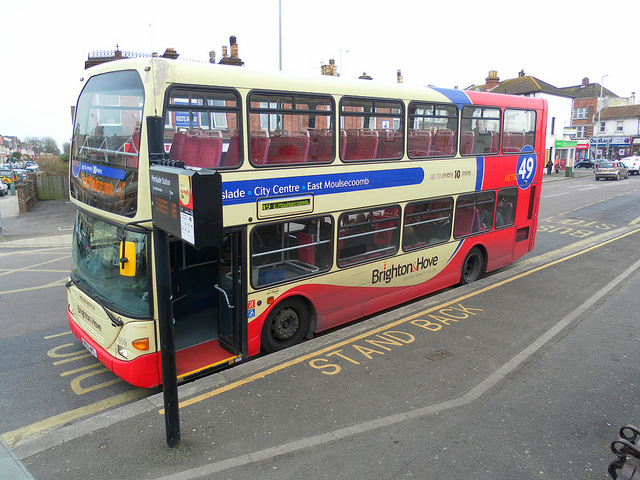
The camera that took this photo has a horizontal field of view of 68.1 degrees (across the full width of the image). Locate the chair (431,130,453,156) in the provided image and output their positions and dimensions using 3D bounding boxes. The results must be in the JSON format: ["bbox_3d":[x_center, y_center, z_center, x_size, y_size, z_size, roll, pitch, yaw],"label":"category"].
[{"bbox_3d":[2.772,-2.219,10.894,0.461,0.499,0.258,-11,19,-38],"label":"chair"}]

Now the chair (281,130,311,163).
[{"bbox_3d":[-0.436,-1.664,8.758,0.362,0.774,0.323,8,1,-20],"label":"chair"}]

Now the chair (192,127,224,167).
[{"bbox_3d":[-1.865,-1.497,7.822,0.424,0.697,0.360,11,26,8],"label":"chair"}]

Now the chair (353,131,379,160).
[{"bbox_3d":[0.890,-1.892,9.463,0.372,0.791,0.419,11,8,21],"label":"chair"}]

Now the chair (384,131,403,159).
[{"bbox_3d":[1.512,-1.975,9.909,0.396,0.601,0.302,-6,20,-19],"label":"chair"}]

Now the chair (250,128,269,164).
[{"bbox_3d":[-1.148,-1.637,8.390,0.375,0.699,0.530,-1,-5,-4],"label":"chair"}]

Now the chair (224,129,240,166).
[{"bbox_3d":[-1.481,-1.518,7.868,0.248,0.579,0.303,-12,17,-43],"label":"chair"}]

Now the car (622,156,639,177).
[{"bbox_3d":[34.566,-8.292,52.461,1.243,1.320,2.822,8,27,39],"label":"car"}]

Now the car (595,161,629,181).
[{"bbox_3d":[27.427,-6.443,44.528,2.961,1.371,1.652,-22,21,-38],"label":"car"}]

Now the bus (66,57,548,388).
[{"bbox_3d":[0.809,-1.169,11.587,11.683,5.481,3.536,-11,18,-37],"label":"bus"}]

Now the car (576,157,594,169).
[{"bbox_3d":[35.919,-10.054,64.206,2.143,1.097,1.651,9,16,34],"label":"car"}]
